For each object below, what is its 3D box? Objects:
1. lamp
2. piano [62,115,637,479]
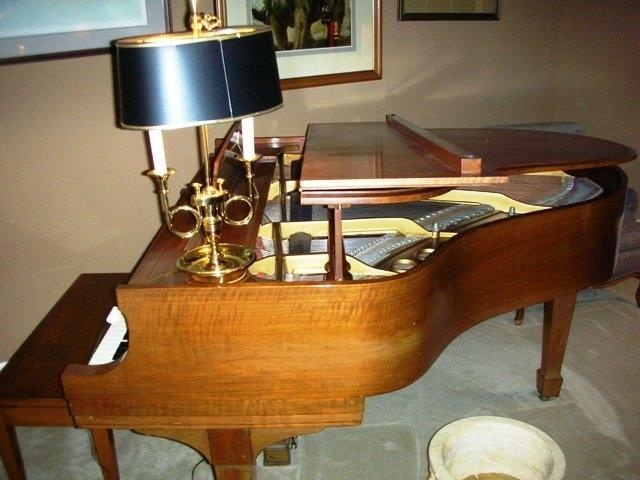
[{"bbox_3d":[-0.403,-0.342,1.810,0.497,0.876,0.609,-11,27,-17],"label":"lamp"},{"bbox_3d":[0.304,0.249,2.464,2.199,1.432,1.539,-4,26,-7],"label":"piano"}]
